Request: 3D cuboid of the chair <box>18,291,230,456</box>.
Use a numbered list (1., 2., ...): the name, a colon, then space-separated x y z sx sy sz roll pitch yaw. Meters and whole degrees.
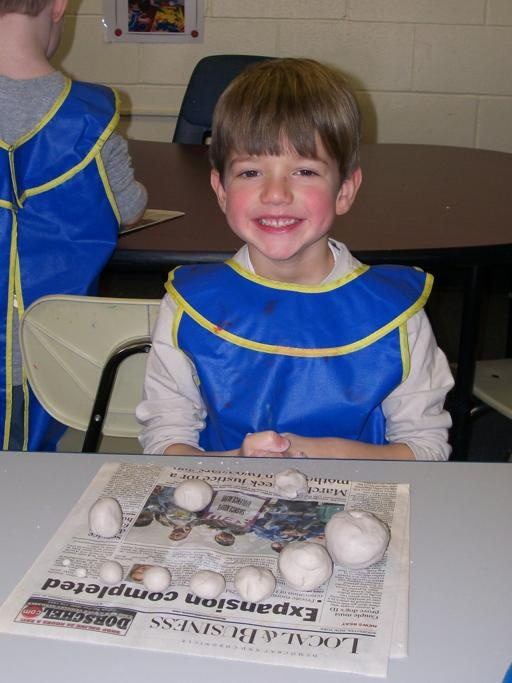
1. chair: -0.183 0.039 1.092 0.286 0.228 0.328 2 10 5
